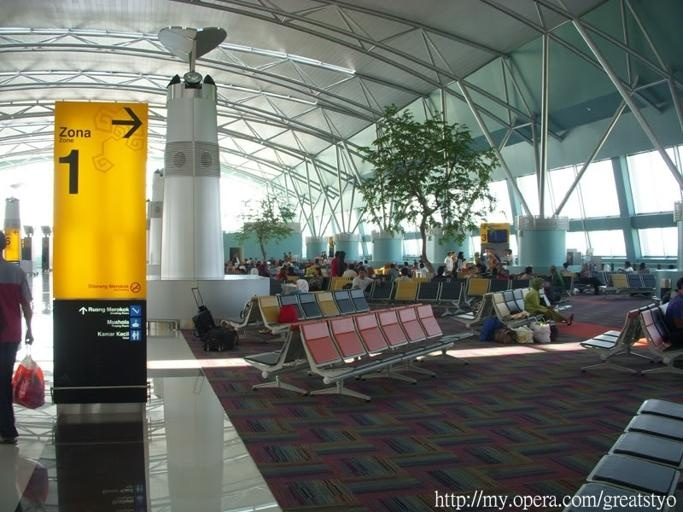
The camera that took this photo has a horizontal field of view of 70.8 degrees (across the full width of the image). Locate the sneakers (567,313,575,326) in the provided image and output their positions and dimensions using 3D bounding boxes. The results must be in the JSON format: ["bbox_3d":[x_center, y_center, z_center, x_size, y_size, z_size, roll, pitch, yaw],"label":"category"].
[{"bbox_3d":[6.629,1.848,13.897,0.135,0.318,0.140,9,-17,-4],"label":"sneakers"}]

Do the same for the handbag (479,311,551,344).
[{"bbox_3d":[3.962,1.689,11.049,1.306,0.392,0.694,2,-6,-1],"label":"handbag"}]

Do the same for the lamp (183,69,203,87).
[{"bbox_3d":[-3.905,-4.744,12.732,0.562,0.445,0.303,5,-18,-14],"label":"lamp"}]

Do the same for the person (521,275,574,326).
[{"bbox_3d":[5.250,1.166,12.221,1.381,1.026,0.609,7,12,4],"label":"person"}]
